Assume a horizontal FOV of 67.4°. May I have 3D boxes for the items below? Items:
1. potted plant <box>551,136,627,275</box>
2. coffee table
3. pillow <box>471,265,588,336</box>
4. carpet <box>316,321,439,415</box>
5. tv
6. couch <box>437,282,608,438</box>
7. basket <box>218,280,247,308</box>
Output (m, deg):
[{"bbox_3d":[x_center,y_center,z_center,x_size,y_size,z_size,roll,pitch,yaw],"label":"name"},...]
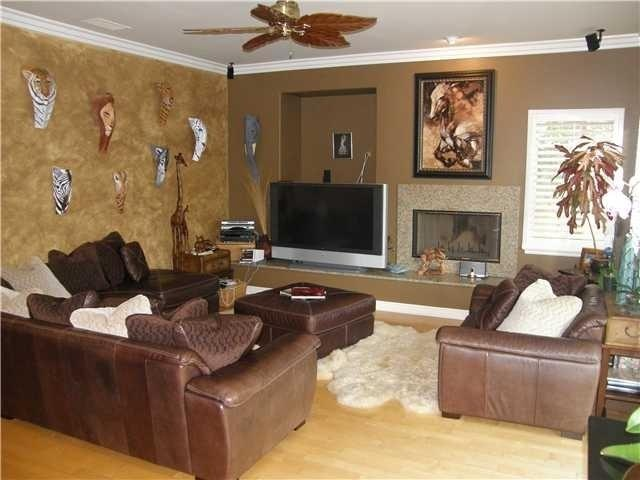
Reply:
[{"bbox_3d":[2.599,-0.235,4.739,0.569,1.481,0.576,14,-9,-43],"label":"potted plant"},{"bbox_3d":[-0.337,0.760,4.927,1.041,0.432,1.015,2,9,37],"label":"coffee table"},{"bbox_3d":[1.576,0.450,3.956,0.641,0.520,0.689,1,4,34],"label":"pillow"},{"bbox_3d":[0.627,1.126,4.483,1.211,0.088,1.695,5,16,12],"label":"carpet"},{"bbox_3d":[0.169,-0.188,6.135,1.108,0.778,0.115,2,3,23],"label":"tv"},{"bbox_3d":[1.550,0.692,3.913,1.057,0.950,1.490,4,22,18],"label":"couch"},{"bbox_3d":[-1.079,0.668,6.170,0.321,0.330,0.457,3,5,26],"label":"basket"}]
